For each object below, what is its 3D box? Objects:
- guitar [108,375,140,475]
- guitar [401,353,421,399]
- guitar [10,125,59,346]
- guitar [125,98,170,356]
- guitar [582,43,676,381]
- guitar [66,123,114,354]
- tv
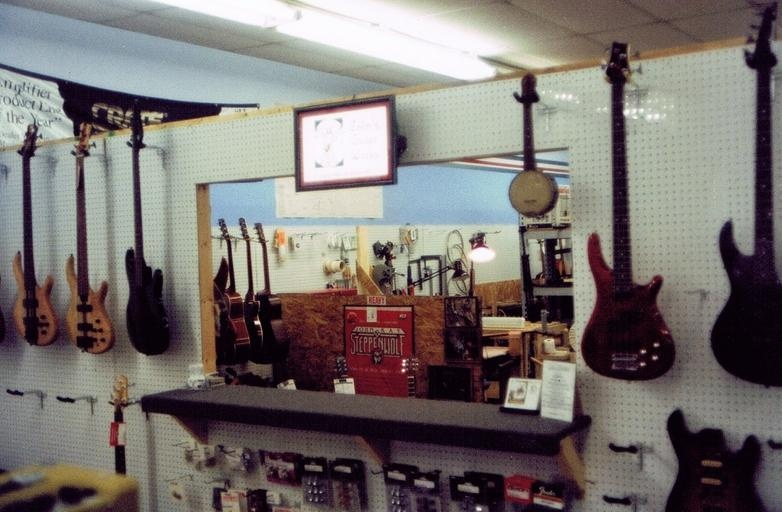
[{"bbox_3d":[-2.176,1.363,5.956,0.209,0.794,0.368,0,1,-21],"label":"guitar"},{"bbox_3d":[0.169,1.090,6.477,0.160,0.387,0.453,1,1,1],"label":"guitar"},{"bbox_3d":[-3.033,-0.165,6.252,0.593,1.901,0.270,2,2,42],"label":"guitar"},{"bbox_3d":[-1.917,-0.209,5.793,0.374,1.975,0.233,1,1,5],"label":"guitar"},{"bbox_3d":[1.524,-0.292,4.697,0.564,2.145,0.158,1,1,18],"label":"guitar"},{"bbox_3d":[-2.481,-0.147,6.014,0.505,1.858,0.203,2,2,40],"label":"guitar"},{"bbox_3d":[-0.329,-0.819,5.300,0.740,0.553,0.079,-1,-1,20],"label":"tv"}]
